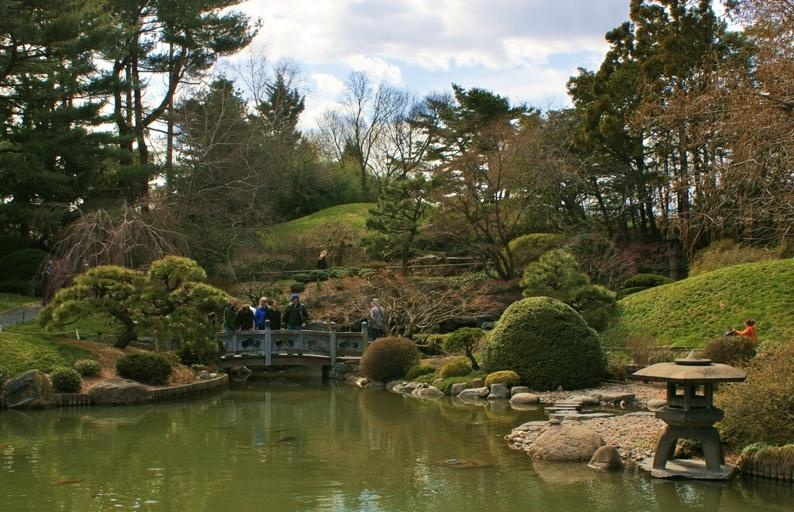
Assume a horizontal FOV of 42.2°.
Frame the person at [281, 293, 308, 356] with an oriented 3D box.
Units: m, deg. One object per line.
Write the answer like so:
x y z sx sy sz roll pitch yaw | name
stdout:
-4.006 2.704 40.285 0.890 2.329 1.337 0 -6 -5 | person
